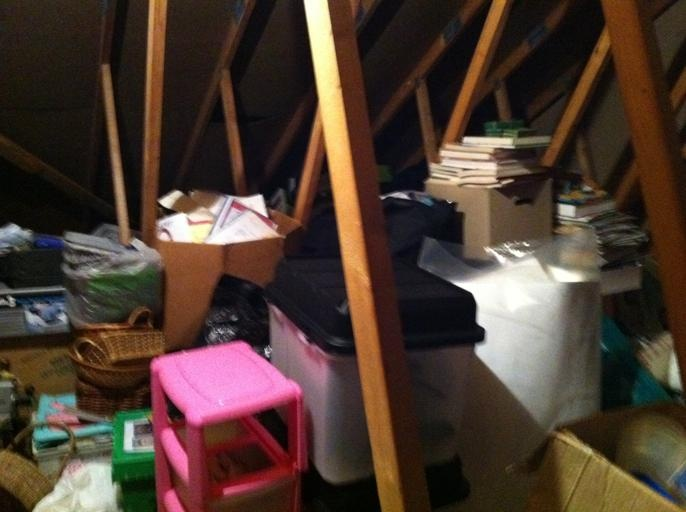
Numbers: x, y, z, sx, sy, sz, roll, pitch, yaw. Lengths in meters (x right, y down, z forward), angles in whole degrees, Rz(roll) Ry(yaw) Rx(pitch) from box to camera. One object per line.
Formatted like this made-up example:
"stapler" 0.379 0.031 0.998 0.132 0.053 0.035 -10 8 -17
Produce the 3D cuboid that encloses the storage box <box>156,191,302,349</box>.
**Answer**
"storage box" -0.582 0.051 2.461 0.497 0.566 0.474 9 18 -35

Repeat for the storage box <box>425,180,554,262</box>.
"storage box" 0.584 -0.187 2.026 0.329 0.215 0.331 -10 14 -33

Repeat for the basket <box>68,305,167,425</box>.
"basket" -0.841 0.383 2.050 0.321 0.338 0.377 0 9 -8

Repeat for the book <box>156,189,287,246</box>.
"book" -0.573 -0.221 2.407 0.357 0.109 0.361 -10 25 -35
